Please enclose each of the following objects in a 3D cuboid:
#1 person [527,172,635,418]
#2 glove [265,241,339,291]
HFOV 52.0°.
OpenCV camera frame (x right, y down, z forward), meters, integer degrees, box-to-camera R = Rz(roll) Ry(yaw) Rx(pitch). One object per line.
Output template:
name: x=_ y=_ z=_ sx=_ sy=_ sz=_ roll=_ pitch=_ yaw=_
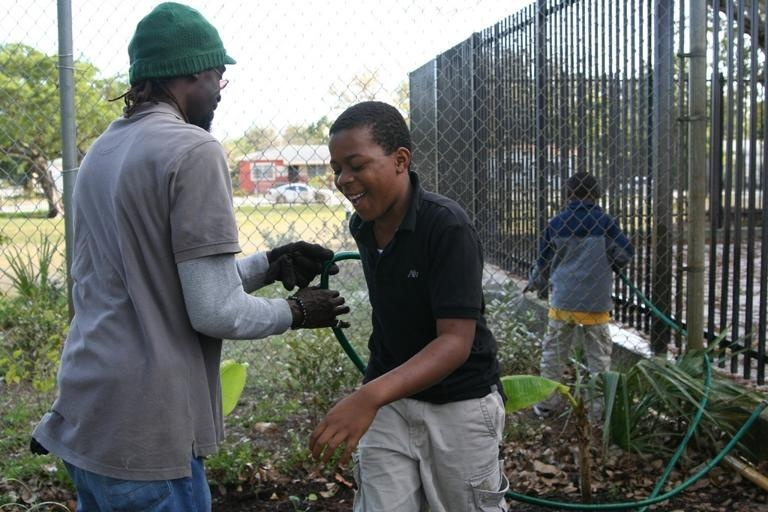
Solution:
person: x=1.648 y=0.256 z=6.699 sx=0.862 sy=1.927 sz=0.914 roll=0 pitch=4 yaw=16
glove: x=-0.476 y=0.041 z=4.430 sx=0.224 sy=0.170 sz=0.361 roll=20 pitch=9 yaw=18
